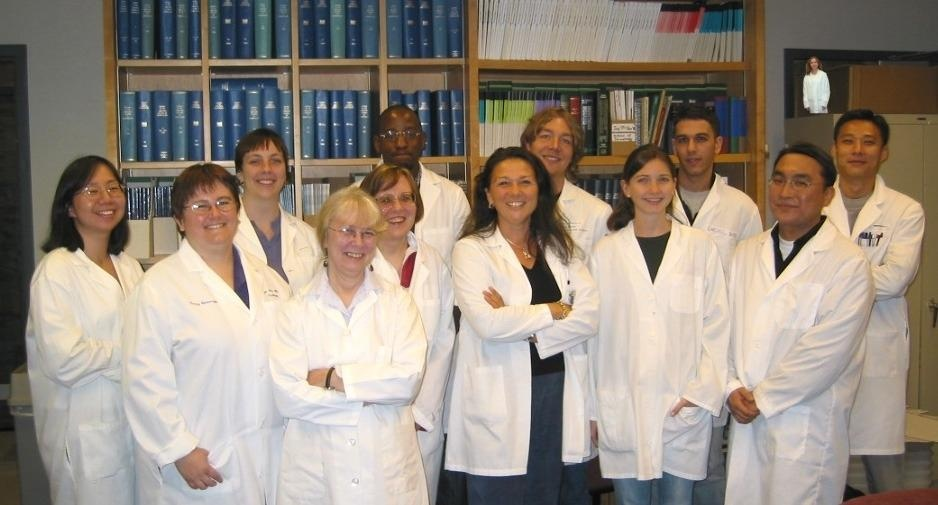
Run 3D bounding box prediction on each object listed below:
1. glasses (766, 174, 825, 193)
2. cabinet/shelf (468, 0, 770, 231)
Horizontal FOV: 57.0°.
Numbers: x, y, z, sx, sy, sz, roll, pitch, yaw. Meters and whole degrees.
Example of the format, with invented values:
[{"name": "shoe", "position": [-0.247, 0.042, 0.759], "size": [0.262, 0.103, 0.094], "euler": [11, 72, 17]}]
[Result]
[{"name": "glasses", "position": [1.993, -0.414, 5.238], "size": [0.183, 0.053, 0.177], "euler": [-1, -12, 21]}, {"name": "cabinet/shelf", "position": [1.066, -1.008, 6.293], "size": [2.100, 1.691, 0.586], "euler": [0, 4, -3]}]
